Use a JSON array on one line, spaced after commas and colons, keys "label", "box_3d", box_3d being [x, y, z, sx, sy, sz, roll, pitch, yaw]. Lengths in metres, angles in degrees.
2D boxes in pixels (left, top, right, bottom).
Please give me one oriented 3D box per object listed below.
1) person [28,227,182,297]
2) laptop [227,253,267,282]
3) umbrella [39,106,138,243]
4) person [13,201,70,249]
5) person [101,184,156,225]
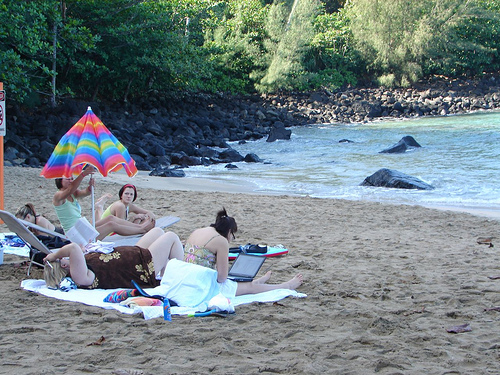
[{"label": "person", "box_3d": [-2.777, 1.383, 14.465, 3.349, 1.282, 1.113, -7, 17, -12]}, {"label": "laptop", "box_3d": [-0.068, 1.626, 14.448, 0.575, 0.545, 0.357, 10, -15, 33]}, {"label": "umbrella", "box_3d": [-3.285, -0.853, 14.867, 1.799, 1.390, 0.732, -2, 11, -14]}, {"label": "person", "box_3d": [-4.309, 0.774, 14.961, 1.235, 0.290, 0.704, 30, -18, -34]}, {"label": "person", "box_3d": [-2.648, 0.434, 15.810, 1.415, 0.967, 0.664, 1, -3, 27]}]
